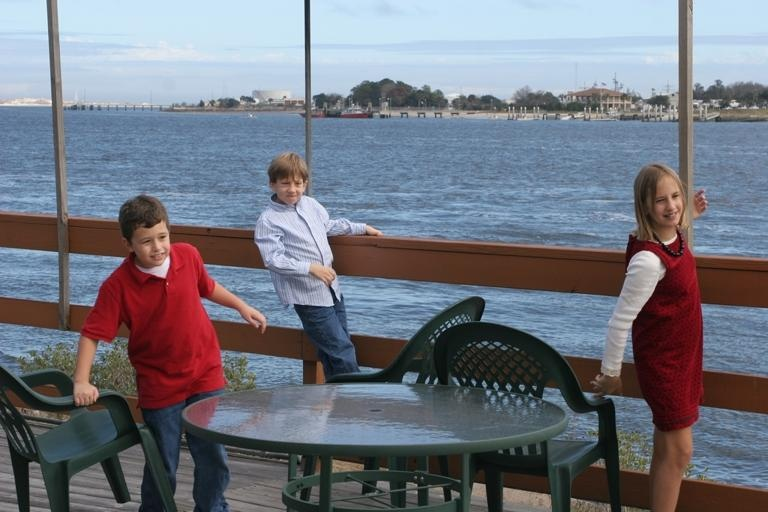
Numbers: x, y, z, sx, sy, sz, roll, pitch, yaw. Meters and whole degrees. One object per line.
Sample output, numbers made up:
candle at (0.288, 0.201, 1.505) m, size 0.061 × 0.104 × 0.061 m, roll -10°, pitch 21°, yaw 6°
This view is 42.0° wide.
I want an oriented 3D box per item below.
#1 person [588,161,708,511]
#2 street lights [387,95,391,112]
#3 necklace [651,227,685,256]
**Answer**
person at (1.567, 0.484, 5.889) m, size 0.592 × 2.030 × 0.351 m, roll 3°, pitch 9°, yaw 18°
street lights at (0.314, -10.554, 68.675) m, size 0.207 × 0.672 × 0.212 m, roll 5°, pitch 24°, yaw 16°
necklace at (1.670, -0.063, 5.807) m, size 0.181 × 0.130 × 0.085 m, roll -7°, pitch 11°, yaw -36°
